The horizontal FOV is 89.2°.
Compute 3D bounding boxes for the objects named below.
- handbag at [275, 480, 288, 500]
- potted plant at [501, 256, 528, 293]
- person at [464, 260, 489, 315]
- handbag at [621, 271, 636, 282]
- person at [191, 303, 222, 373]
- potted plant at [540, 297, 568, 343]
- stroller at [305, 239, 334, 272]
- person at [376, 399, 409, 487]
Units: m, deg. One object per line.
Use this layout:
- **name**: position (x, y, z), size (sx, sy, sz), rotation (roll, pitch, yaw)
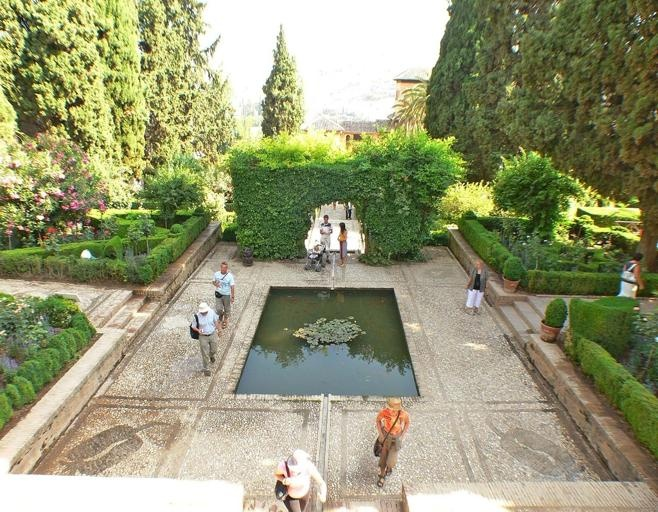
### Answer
- **handbag**: position (-0.639, 3.280, 4.679), size (0.203, 0.200, 0.269), rotation (0, 15, -5)
- **potted plant**: position (6.758, 0.694, 12.328), size (0.866, 1.289, 0.907), rotation (9, -1, 41)
- **person**: position (5.279, 1.002, 11.930), size (0.577, 2.001, 0.984), rotation (10, 24, 23)
- **handbag**: position (9.288, 0.642, 10.355), size (0.172, 0.310, 0.353), rotation (-17, 27, -35)
- **person**: position (-3.131, 2.107, 8.575), size (0.681, 2.038, 0.470), rotation (-14, 26, -31)
- **potted plant**: position (6.244, 1.798, 9.316), size (0.507, 1.256, 0.496), rotation (17, 28, 36)
- **stroller**: position (-0.457, -0.059, 15.658), size (0.956, 1.154, 1.527), rotation (6, 23, 14)
- **person**: position (1.099, 3.305, 5.925), size (0.602, 1.492, 0.467), rotation (4, 5, -17)
